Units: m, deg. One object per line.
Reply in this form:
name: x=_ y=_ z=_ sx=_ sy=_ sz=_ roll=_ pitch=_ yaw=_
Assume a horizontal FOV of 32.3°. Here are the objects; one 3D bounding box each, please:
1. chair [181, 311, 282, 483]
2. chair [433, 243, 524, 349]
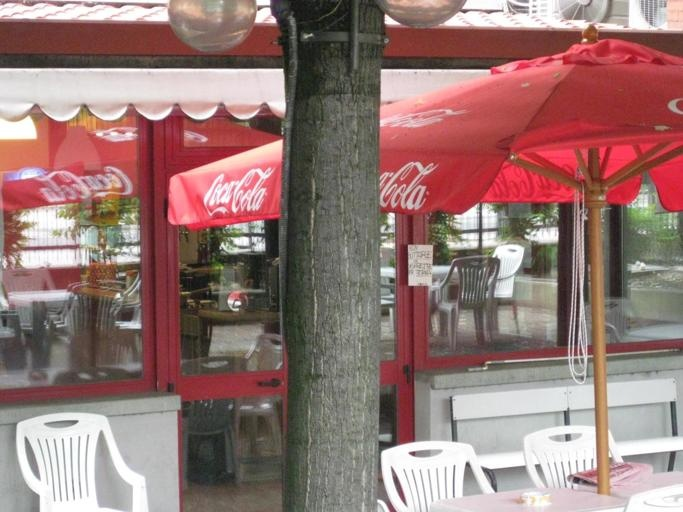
chair: x=-0.758 y=1.055 z=10.259 sx=1.045 sy=1.589 sz=1.536 roll=-1 pitch=4 yaw=-2
chair: x=1.138 y=0.338 z=10.134 sx=0.722 sy=1.232 sz=0.852 roll=0 pitch=1 yaw=-22
